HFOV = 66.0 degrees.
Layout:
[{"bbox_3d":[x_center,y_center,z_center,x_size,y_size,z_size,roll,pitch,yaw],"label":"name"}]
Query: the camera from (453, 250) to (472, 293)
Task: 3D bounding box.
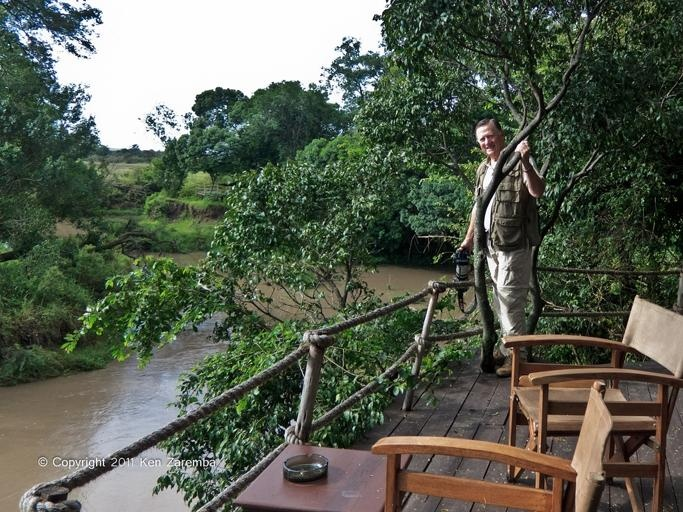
[{"bbox_3d":[1.133,0.135,5.010,0.124,0.383,0.103,4,14,15],"label":"camera"}]
